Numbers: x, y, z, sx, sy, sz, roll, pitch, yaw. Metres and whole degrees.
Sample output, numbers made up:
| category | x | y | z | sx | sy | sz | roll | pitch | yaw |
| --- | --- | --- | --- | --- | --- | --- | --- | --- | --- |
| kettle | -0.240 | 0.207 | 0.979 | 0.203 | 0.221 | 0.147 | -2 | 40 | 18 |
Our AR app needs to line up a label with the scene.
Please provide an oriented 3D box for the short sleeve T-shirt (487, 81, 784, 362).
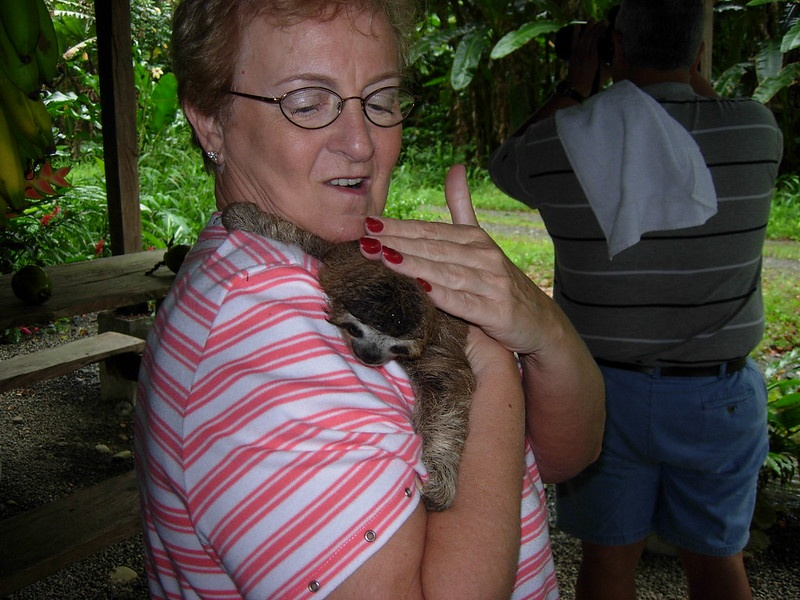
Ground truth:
| category | x | y | z | sx | sy | sz | roll | pitch | yaw |
| --- | --- | --- | --- | --- | --- | --- | --- | --- | --- |
| short sleeve T-shirt | 1.300 | -0.379 | 3.664 | 1.573 | 1.310 | 0.854 | -8 | 13 | -11 |

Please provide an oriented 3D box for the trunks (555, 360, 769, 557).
| category | x | y | z | sx | sy | sz | roll | pitch | yaw |
| --- | --- | --- | --- | --- | --- | --- | --- | --- | --- |
| trunks | 1.337 | 0.788 | 3.641 | 1.026 | 0.940 | 0.628 | 0 | 8 | 21 |

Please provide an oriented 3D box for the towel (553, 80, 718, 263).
| category | x | y | z | sx | sy | sz | roll | pitch | yaw |
| --- | --- | --- | --- | --- | --- | --- | --- | --- | --- |
| towel | 1.092 | -0.637 | 3.285 | 0.696 | 0.806 | 0.256 | -26 | -18 | 11 |
